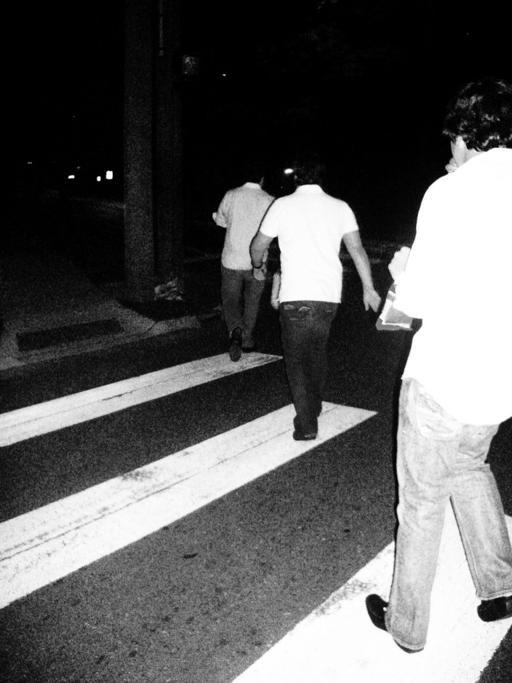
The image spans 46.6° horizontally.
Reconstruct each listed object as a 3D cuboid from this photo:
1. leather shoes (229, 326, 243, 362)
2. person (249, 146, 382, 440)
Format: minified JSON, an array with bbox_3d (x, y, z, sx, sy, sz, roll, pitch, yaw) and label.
[{"bbox_3d":[-0.221,0.023,6.408,0.125,0.302,0.388,0,12,-1],"label":"leather shoes"},{"bbox_3d":[0.398,-0.295,4.313,0.906,1.988,0.405,3,9,14],"label":"person"}]
